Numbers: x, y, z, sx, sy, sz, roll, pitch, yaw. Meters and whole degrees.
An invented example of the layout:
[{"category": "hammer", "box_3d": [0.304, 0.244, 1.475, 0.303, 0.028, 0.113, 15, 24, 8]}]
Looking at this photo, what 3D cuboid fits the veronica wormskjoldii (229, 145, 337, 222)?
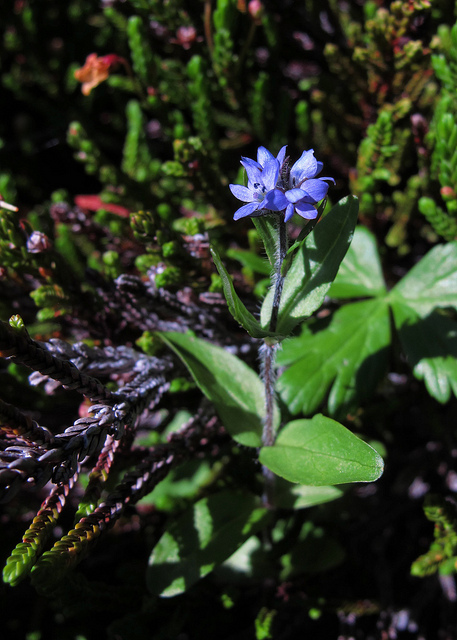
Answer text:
[{"category": "veronica wormskjoldii", "box_3d": [0.071, -0.199, 0.844, 0.137, 0.109, 0.161, 4, 18, -1]}]
